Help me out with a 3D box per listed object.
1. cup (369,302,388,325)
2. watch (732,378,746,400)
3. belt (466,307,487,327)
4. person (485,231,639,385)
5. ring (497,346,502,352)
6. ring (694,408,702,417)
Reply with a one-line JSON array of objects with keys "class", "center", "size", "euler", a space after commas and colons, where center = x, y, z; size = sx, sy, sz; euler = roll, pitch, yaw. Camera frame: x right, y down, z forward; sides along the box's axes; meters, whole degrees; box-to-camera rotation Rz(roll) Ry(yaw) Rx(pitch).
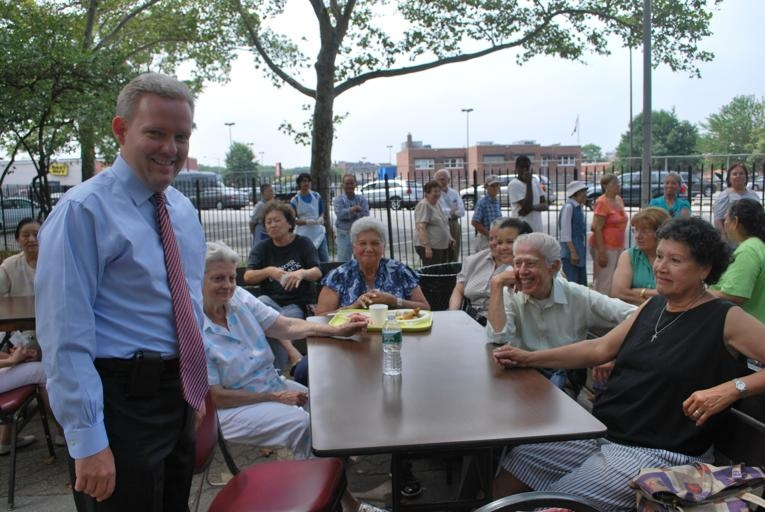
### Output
[{"class": "cup", "center": [-0.038, 0.448, 4.722], "size": [0.143, 0.133, 0.148], "euler": [2, 5, 0]}, {"class": "watch", "center": [1.998, 0.747, 3.449], "size": [0.051, 0.081, 0.082], "euler": [-17, 42, 15]}, {"class": "belt", "center": [0.908, 0.583, 5.901], "size": [0.137, 0.067, 0.181], "euler": [29, 12, -50]}, {"class": "person", "center": [1.391, 0.491, 4.600], "size": [1.162, 1.325, 0.558], "euler": [3, 13, 34]}, {"class": "ring", "center": [0.783, 0.624, 4.109], "size": [0.029, 0.016, 0.013], "euler": [-34, 1, -41]}, {"class": "ring", "center": [1.787, 0.883, 3.438], "size": [0.033, 0.032, 0.010], "euler": [4, -2, -4]}]
